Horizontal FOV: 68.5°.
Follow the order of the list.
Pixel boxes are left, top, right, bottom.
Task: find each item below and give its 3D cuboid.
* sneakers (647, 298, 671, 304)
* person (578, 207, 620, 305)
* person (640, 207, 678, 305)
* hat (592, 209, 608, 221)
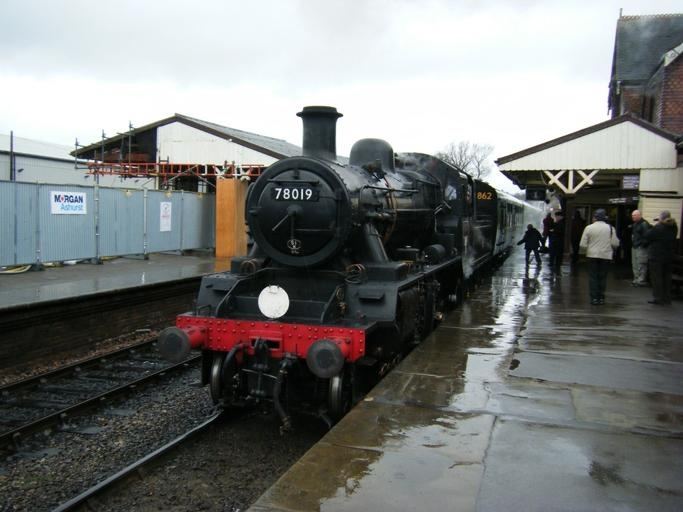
[{"bbox_3d":[6.286,0.920,10.002,0.409,0.164,0.147,4,4,16],"label":"sneakers"},{"bbox_3d":[5.108,0.027,10.019,0.648,1.915,0.778,6,10,27],"label":"person"},{"bbox_3d":[6.260,0.042,9.888,0.513,1.824,0.444,7,11,33],"label":"person"},{"bbox_3d":[5.025,-0.827,9.811,0.249,0.289,0.336,3,-3,35],"label":"hat"}]
